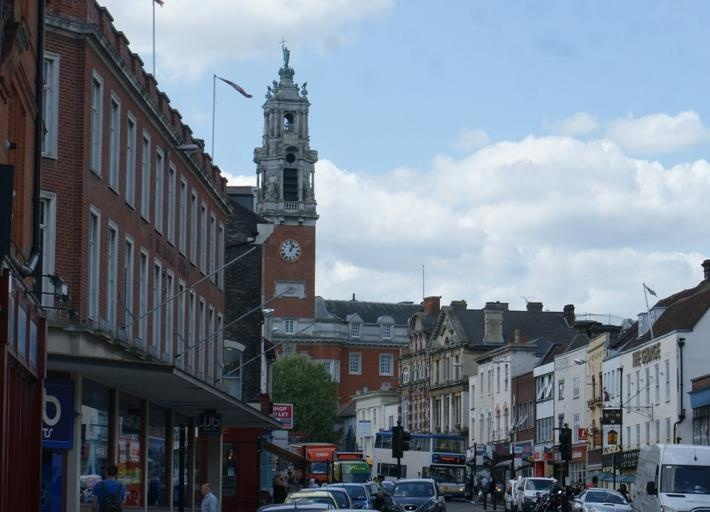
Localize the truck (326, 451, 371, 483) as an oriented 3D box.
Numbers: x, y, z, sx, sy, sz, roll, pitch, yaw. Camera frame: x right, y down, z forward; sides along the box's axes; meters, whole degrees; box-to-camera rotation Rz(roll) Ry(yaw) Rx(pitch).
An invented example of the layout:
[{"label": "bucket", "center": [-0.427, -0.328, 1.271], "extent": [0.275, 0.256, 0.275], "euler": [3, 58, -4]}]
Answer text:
[{"label": "truck", "center": [-0.289, 11.939, 113.487], "extent": [1.212, 1.759, 3.610], "euler": [-1, -9, -6]}]

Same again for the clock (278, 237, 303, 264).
[{"label": "clock", "center": [-5.333, -0.099, 167.953], "extent": [1.765, 2.256, 0.973], "euler": [3, -16, -16]}]

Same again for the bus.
[{"label": "bus", "center": [3.856, 12.140, 118.213], "extent": [2.795, 3.815, 8.069], "euler": [3, -7, -23]}]
